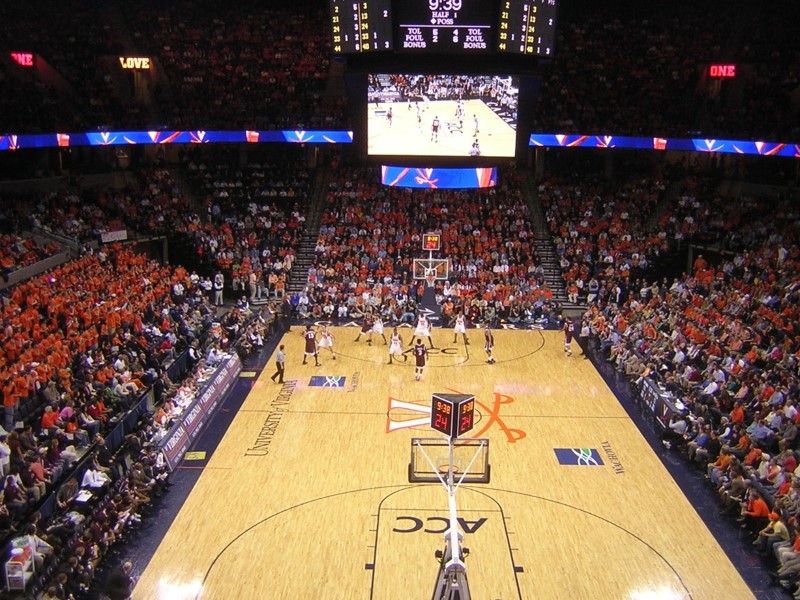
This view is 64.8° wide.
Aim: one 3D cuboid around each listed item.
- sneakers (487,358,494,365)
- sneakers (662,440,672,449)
[{"bbox_3d":[3.749,2.395,25.445,0.369,0.290,0.133,-13,19,-39],"label":"sneakers"},{"bbox_3d":[8.290,4.360,19.454,0.104,0.345,0.277,21,-38,-22],"label":"sneakers"}]
